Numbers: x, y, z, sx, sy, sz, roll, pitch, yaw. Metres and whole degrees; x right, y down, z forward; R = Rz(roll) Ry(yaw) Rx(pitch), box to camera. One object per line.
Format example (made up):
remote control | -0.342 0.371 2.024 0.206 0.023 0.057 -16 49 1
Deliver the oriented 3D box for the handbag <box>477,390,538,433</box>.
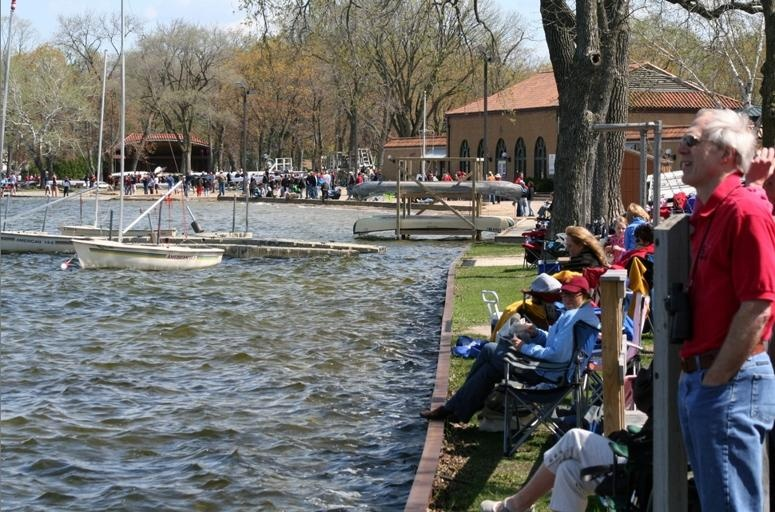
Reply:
handbag | 1.838 2.377 17.933 1.142 0.605 0.936 0 0 2

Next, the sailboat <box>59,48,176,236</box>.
sailboat | -19.016 -8.487 81.785 3.890 17.222 3.798 -3 13 -14
